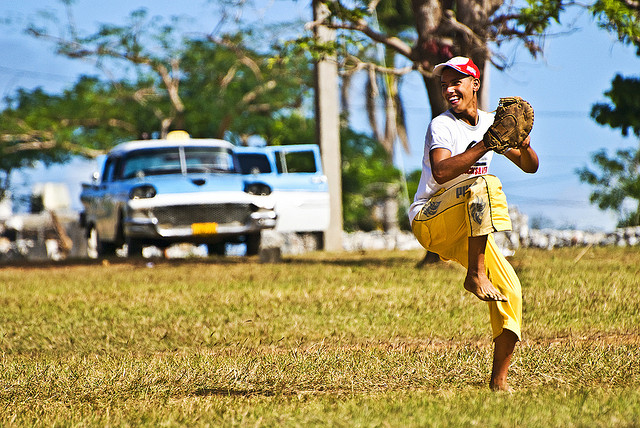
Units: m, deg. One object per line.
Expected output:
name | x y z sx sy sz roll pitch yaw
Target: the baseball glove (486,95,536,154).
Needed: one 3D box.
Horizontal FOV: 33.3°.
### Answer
baseball glove | 1.917 -0.905 10.890 0.501 0.557 0.160 -3 10 -15
